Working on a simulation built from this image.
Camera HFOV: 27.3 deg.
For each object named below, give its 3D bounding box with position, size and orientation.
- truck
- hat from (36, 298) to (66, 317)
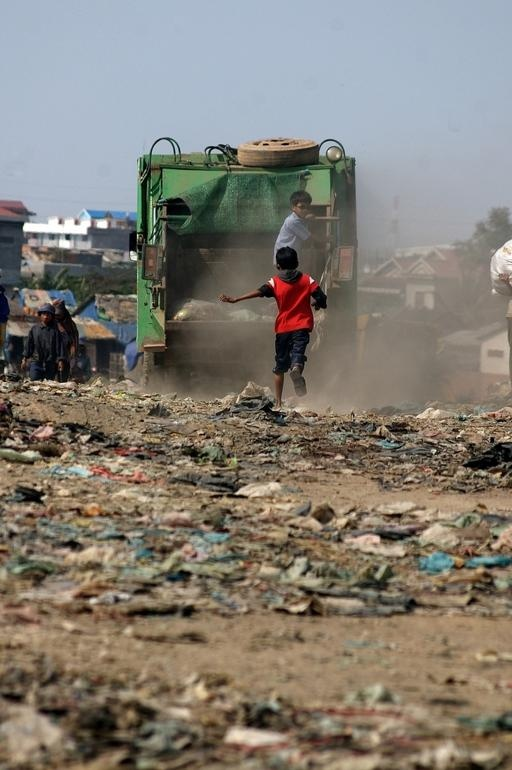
[{"bbox_3d":[-0.162,-1.176,9.909,1.788,1.873,2.362,-1,15,4],"label":"truck"},{"bbox_3d":[-1.787,-0.683,9.182,0.247,0.180,0.347,-1,6,-7],"label":"hat"}]
